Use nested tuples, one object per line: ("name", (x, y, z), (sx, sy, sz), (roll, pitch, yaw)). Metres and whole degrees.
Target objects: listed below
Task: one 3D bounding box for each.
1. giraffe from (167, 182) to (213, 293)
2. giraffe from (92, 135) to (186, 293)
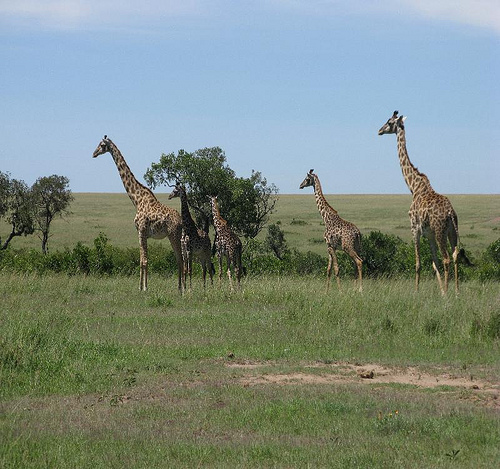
("giraffe", (-1.400, 0.100, 21.704), (0.952, 2.655, 1.579), (0, 6, -4))
("giraffe", (-2.651, -0.627, 22.618), (1.617, 3.591, 3.722), (-3, 8, -30))
